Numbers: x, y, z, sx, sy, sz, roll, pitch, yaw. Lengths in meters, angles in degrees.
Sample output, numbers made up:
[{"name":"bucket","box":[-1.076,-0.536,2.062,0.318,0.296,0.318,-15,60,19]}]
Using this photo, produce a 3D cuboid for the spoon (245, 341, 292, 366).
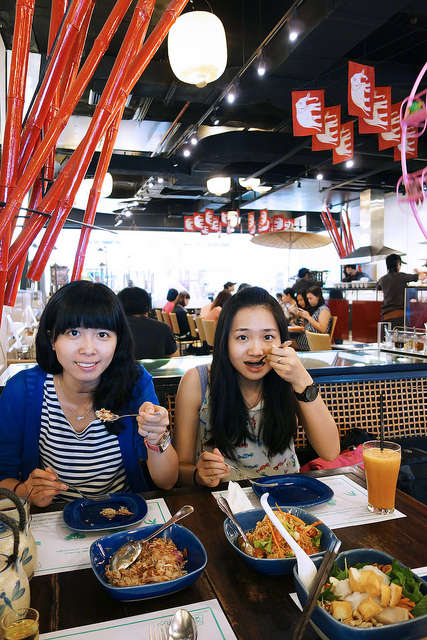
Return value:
[{"name":"spoon","box":[0.160,0.104,1.290,0.080,0.023,0.025,-38,-42,6]}]

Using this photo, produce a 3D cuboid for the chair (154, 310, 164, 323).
[{"name":"chair","box":[-1.035,-0.078,8.183,0.179,0.340,0.189,-4,8,-19]}]

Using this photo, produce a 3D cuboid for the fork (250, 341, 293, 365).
[{"name":"fork","box":[0.168,0.102,1.285,0.085,0.014,0.013,-47,-26,-2]}]

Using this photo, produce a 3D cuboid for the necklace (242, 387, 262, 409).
[{"name":"necklace","box":[0.132,0.265,1.461,0.065,0.102,0.005,2,-9,-7]}]

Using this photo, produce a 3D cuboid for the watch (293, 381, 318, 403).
[{"name":"watch","box":[0.288,0.235,1.338,0.064,0.048,0.074,-8,-22,33]}]

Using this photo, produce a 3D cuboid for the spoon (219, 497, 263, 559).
[{"name":"spoon","box":[0.050,0.395,0.857,0.034,0.023,0.151,16,19,-31]}]

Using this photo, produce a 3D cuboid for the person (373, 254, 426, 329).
[{"name":"person","box":[2.424,-0.377,5.693,0.346,0.953,0.579,0,2,9]}]

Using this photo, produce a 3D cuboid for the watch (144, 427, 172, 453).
[{"name":"watch","box":[-0.141,0.348,1.170,0.070,0.032,0.080,-32,22,14]}]

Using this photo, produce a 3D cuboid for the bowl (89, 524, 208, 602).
[{"name":"bowl","box":[-0.103,0.415,0.739,0.166,0.055,0.194,-7,4,-35]}]

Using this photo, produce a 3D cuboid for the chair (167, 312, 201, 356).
[{"name":"chair","box":[-0.582,0.221,7.615,0.602,1.150,0.600,-4,4,-8]}]

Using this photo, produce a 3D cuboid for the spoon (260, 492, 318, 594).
[{"name":"spoon","box":[0.112,0.329,0.681,0.046,0.162,0.045,2,-37,-36]}]
